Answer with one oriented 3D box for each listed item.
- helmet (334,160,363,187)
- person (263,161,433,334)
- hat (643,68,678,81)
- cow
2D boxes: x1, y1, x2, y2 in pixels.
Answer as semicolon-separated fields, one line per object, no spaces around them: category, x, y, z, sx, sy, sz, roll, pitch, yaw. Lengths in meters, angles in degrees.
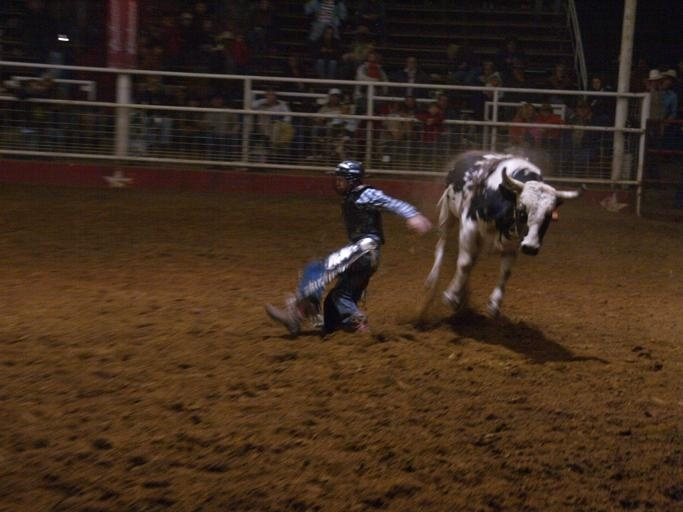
helmet;0.073;-0.750;5.683;0.252;0.220;0.200;4;7;-8
person;0.058;-0.062;5.630;1.020;1.561;0.442;6;8;1
hat;6.699;-3.777;13.112;0.679;0.149;0.672;3;4;28
cow;1.359;-0.228;5.838;0.808;1.587;1.871;5;7;-5
